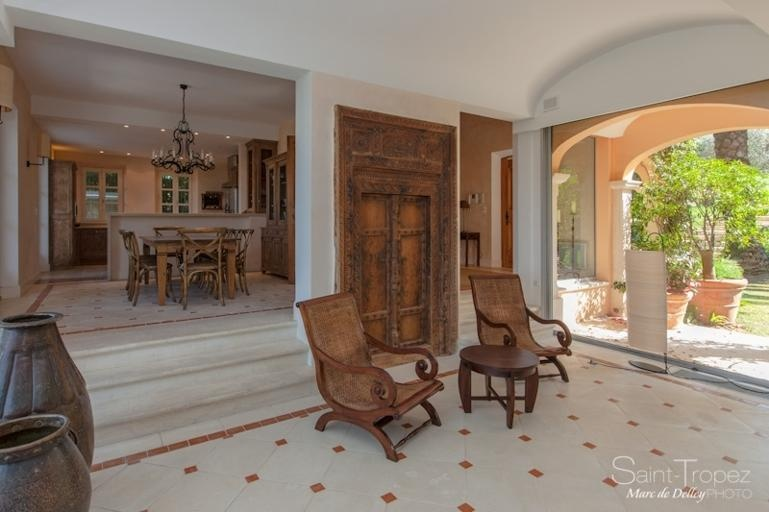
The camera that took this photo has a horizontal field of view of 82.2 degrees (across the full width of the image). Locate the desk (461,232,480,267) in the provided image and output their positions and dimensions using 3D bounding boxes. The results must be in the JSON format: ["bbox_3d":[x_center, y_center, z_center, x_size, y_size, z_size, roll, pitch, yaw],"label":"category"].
[{"bbox_3d":[2.133,-0.183,10.656,0.488,0.803,0.475,-2,1,-10],"label":"desk"}]

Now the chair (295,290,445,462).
[{"bbox_3d":[-0.133,1.156,4.539,1.340,1.279,0.956,4,5,37],"label":"chair"}]

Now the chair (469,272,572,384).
[{"bbox_3d":[1.660,0.902,5.493,0.923,1.091,1.172,1,5,-11],"label":"chair"}]

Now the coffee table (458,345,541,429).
[{"bbox_3d":[1.256,1.416,4.846,0.875,0.638,0.824,3,4,41],"label":"coffee table"}]

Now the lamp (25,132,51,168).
[{"bbox_3d":[-6.741,-2.028,8.482,0.388,0.571,0.288,-6,3,-18],"label":"lamp"}]

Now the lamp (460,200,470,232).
[{"bbox_3d":[1.980,-1.016,10.805,0.228,0.771,0.221,2,7,9],"label":"lamp"}]

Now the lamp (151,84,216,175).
[{"bbox_3d":[-4.224,-2.668,9.226,1.245,1.703,1.218,8,18,4],"label":"lamp"}]

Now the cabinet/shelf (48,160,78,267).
[{"bbox_3d":[-7.762,-0.988,10.407,0.439,2.530,0.612,0,8,-11],"label":"cabinet/shelf"}]
